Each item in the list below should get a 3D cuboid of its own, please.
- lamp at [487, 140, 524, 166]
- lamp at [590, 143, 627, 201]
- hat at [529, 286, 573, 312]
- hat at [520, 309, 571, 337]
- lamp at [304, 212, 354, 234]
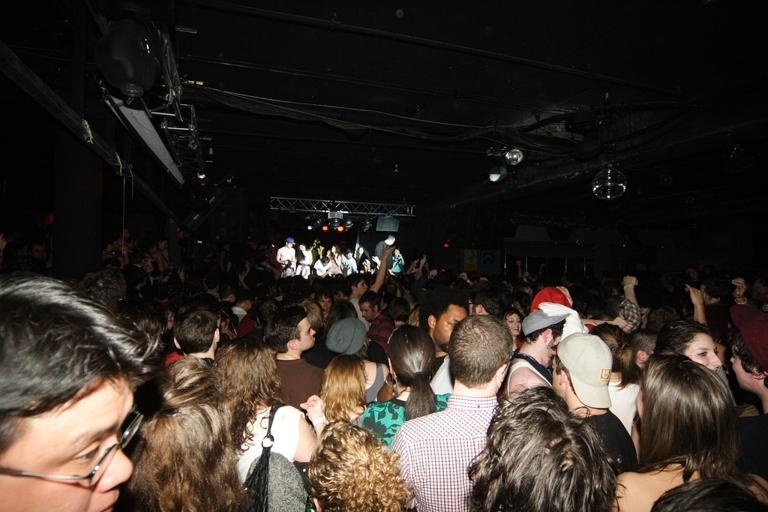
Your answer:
[{"bbox_3d":[2.048,-1.748,8.116,0.581,0.254,1.102,0,-10,13],"label":"lamp"},{"bbox_3d":[3.720,-1.471,7.982,0.509,1.133,0.518,-4,-4,17],"label":"lamp"},{"bbox_3d":[1.599,0.400,4.654,0.326,0.188,0.477,3,-9,5],"label":"hat"},{"bbox_3d":[1.230,0.512,3.721,0.245,0.099,0.216,-8,-4,-3],"label":"hat"},{"bbox_3d":[-1.860,-1.118,15.553,0.841,0.320,0.821,0,-19,1],"label":"lamp"}]
